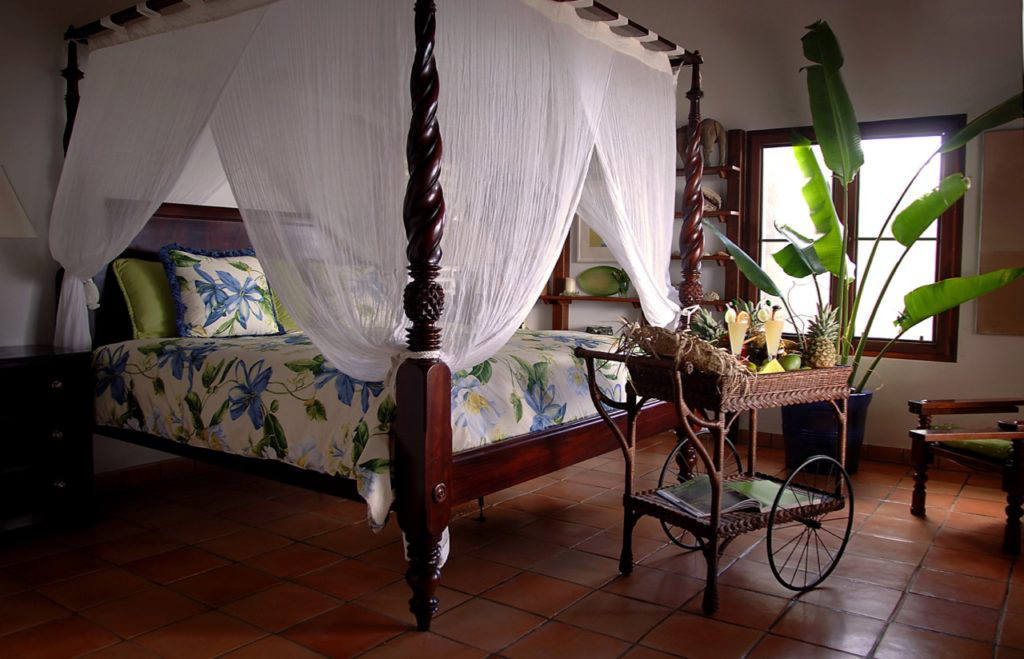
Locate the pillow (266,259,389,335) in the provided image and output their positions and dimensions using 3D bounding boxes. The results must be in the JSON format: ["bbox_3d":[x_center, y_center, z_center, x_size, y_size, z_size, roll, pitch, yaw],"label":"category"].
[{"bbox_3d":[-0.853,-0.201,3.451,0.474,0.464,0.125,2,7,1],"label":"pillow"}]

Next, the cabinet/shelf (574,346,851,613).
[{"bbox_3d":[1.157,0.771,3.829,1.467,1.272,0.872,0,2,-33],"label":"cabinet/shelf"}]

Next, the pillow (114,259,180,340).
[{"bbox_3d":[-2.508,-0.206,4.694,0.162,0.520,0.536,-21,-14,23],"label":"pillow"}]

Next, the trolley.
[{"bbox_3d":[1.141,0.766,3.835,1.524,1.274,0.996,1,2,-38],"label":"trolley"}]

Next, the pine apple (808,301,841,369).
[{"bbox_3d":[1.739,0.073,3.789,0.147,0.345,0.142,15,-20,-24],"label":"pine apple"}]
